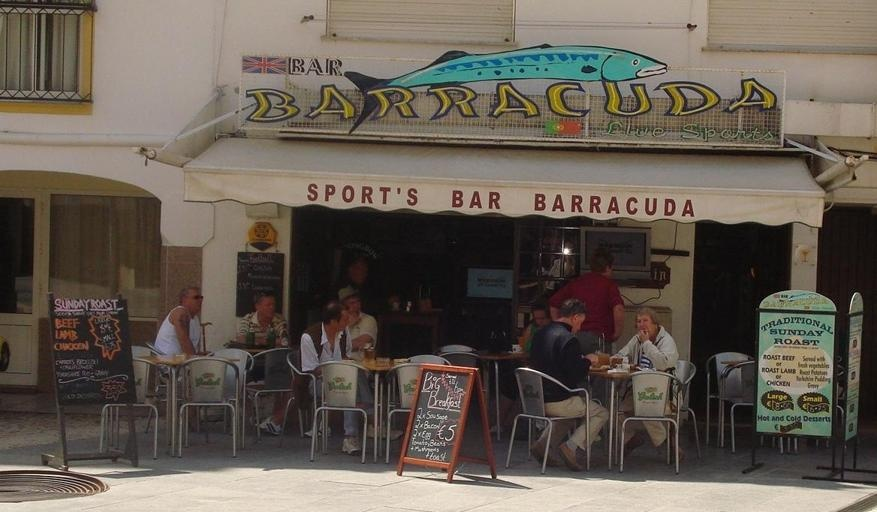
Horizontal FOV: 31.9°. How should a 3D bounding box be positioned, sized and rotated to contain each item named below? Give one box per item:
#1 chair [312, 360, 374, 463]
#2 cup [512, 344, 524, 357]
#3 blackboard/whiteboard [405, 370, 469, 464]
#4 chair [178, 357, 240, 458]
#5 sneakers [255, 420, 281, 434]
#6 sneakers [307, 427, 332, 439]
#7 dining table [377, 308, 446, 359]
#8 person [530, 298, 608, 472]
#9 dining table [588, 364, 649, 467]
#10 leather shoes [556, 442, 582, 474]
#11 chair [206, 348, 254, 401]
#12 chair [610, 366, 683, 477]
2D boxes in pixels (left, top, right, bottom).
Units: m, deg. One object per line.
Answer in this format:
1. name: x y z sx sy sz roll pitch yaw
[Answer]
1. chair: -1.579 2.465 24.284 0.924 1.578 1.225 1 -5 -4
2. cup: 1.317 1.601 25.759 0.171 0.104 0.158 -1 2 0
3. blackboard/whiteboard: -0.056 2.448 23.145 0.913 1.466 0.272 -2 -6 26
4. chair: -3.667 2.419 24.555 0.999 1.554 1.346 1 -5 -9
5. sneakers: -2.786 2.847 25.183 0.450 0.178 0.177 10 8 28
6. sneakers: -2.050 2.924 25.114 0.582 0.215 0.177 2 -9 -3
7. dining table: -0.529 1.340 28.103 1.308 1.101 0.902 0 -5 2
8. person: 2.013 1.997 23.870 1.050 2.617 0.759 5 -7 -41
9. dining table: 3.134 2.575 24.301 1.424 1.647 1.898 1 -3 1
10. leather shoes: 2.018 3.140 23.784 0.266 0.552 0.225 -28 -3 1
11. chair: -3.293 1.929 25.061 0.878 0.995 0.739 -1 -18 3
12. chair: 3.319 2.608 24.021 1.017 1.575 0.880 0 -5 2
